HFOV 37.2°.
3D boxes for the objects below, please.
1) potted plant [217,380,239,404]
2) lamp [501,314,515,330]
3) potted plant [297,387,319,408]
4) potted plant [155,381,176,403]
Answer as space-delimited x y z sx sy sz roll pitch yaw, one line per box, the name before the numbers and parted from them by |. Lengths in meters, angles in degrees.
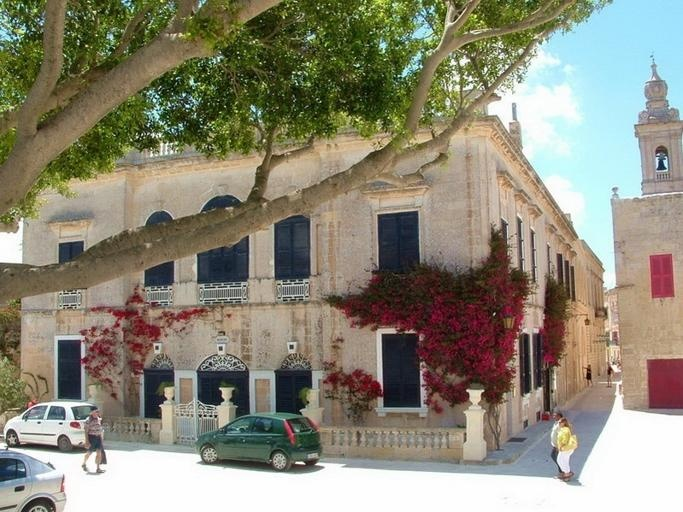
potted plant | -3.859 4.509 34.068 0.682 0.555 0.682 -1 -2 33
lamp | 5.084 2.025 31.300 0.318 0.483 0.485 1 8 11
potted plant | -1.123 4.567 33.370 0.677 0.711 0.634 -1 -6 -17
potted plant | -6.196 4.658 35.290 0.795 0.747 0.796 -2 -7 36
